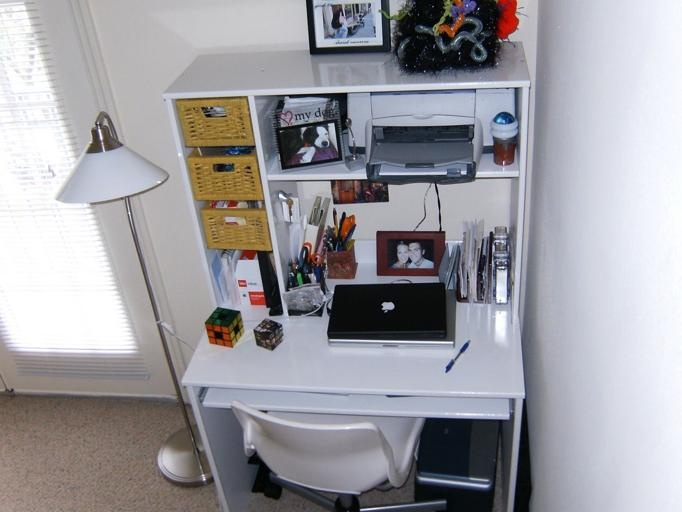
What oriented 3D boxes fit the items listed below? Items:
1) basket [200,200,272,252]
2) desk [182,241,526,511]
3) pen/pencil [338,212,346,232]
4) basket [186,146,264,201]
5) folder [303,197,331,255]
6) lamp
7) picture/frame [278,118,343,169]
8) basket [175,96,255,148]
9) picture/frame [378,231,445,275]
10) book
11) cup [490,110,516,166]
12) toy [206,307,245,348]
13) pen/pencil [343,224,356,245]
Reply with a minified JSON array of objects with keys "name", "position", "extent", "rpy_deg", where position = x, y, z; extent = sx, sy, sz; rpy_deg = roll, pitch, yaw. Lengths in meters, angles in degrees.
[{"name":"basket","position":[-0.406,-0.105,2.122],"extent":[0.183,0.125,0.197],"rpy_deg":[-1,36,0]},{"name":"desk","position":[0.087,0.446,2.361],"extent":[1.439,1.072,0.801],"rpy_deg":[1,35,8]},{"name":"pen/pencil","position":[0.003,-0.147,2.406],"extent":[0.020,0.025,0.100],"rpy_deg":[19,69,0]},{"name":"basket","position":[-0.435,-0.284,2.026],"extent":[0.192,0.130,0.203],"rpy_deg":[-8,32,-10]},{"name":"folder","position":[-0.098,-0.171,2.415],"extent":[0.064,0.201,0.193],"rpy_deg":[2,12,16]},{"name":"lamp","position":[-0.818,0.283,2.329],"extent":[0.374,1.742,0.735],"rpy_deg":[-14,25,-21]},{"name":"picture/frame","position":[-0.120,-0.415,1.989],"extent":[0.166,0.125,0.013],"rpy_deg":[-8,28,1]},{"name":"basket","position":[-0.449,-0.452,1.901],"extent":[0.252,0.178,0.149],"rpy_deg":[0,39,3]},{"name":"picture/frame","position":[0.312,-0.020,2.359],"extent":[0.189,0.147,0.020],"rpy_deg":[2,33,6]},{"name":"book","position":[0.512,0.018,2.248],"extent":[0.104,0.325,0.231],"rpy_deg":[3,2,9]},{"name":"cup","position":[0.584,-0.409,1.900],"extent":[0.129,0.179,0.078],"rpy_deg":[-17,26,-26]},{"name":"toy","position":[-0.452,0.276,2.204],"extent":[0.131,0.140,0.138],"rpy_deg":[8,34,14]},{"name":"pen/pencil","position":[0.040,-0.097,2.416],"extent":[0.018,0.128,0.029],"rpy_deg":[8,25,-29]}]
